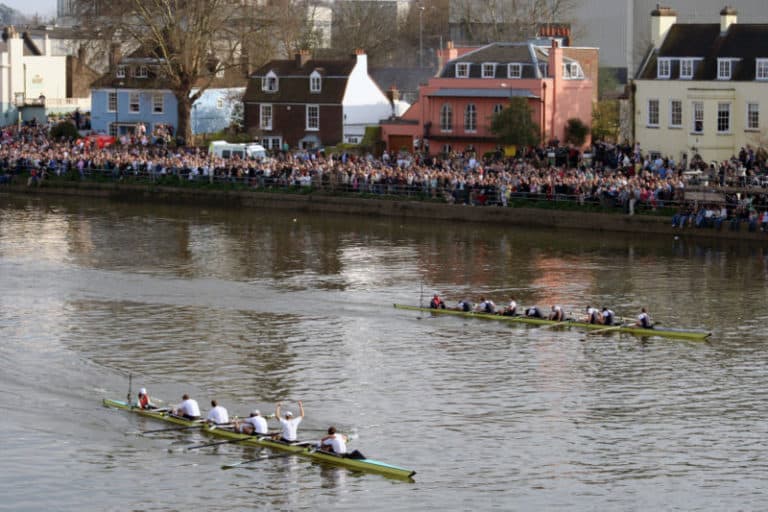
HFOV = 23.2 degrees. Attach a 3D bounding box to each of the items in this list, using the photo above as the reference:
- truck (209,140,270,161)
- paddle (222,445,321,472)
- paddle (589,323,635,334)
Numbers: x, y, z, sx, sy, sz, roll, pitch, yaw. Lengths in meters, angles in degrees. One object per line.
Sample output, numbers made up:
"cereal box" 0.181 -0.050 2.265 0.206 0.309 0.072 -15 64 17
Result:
"truck" -12.608 -8.771 160.088 3.797 2.007 2.198 -1 4 22
"paddle" -7.018 11.724 107.131 4.310 0.906 0.476 0 4 -10
"paddle" 14.741 4.700 119.564 2.198 0.316 0.106 -13 -14 -15
